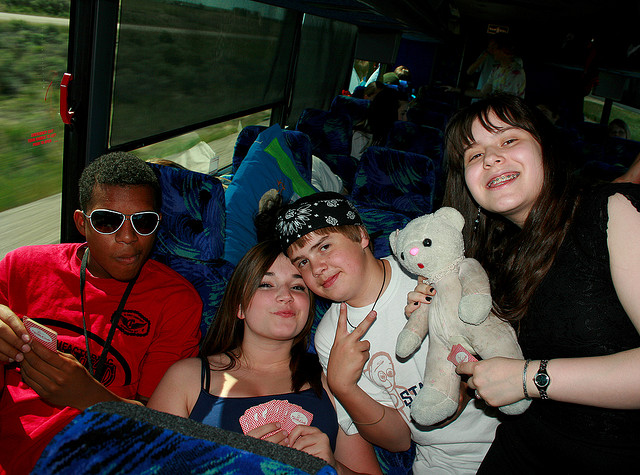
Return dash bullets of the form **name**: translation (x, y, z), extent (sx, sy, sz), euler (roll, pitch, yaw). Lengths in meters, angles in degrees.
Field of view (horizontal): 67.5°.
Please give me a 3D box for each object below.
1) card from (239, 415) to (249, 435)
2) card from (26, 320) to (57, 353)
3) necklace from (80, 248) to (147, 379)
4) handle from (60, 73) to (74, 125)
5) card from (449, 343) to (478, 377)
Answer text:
- **card**: translation (-0.285, 0.709, 1.792), extent (0.034, 0.055, 0.014), euler (-19, -16, -15)
- **card**: translation (-0.960, 0.339, 1.653), extent (0.130, 0.072, 0.030), euler (36, 14, 0)
- **necklace**: translation (-0.868, 0.330, 2.007), extent (0.198, 0.556, 0.027), euler (9, -10, -1)
- **handle**: translation (-1.212, -0.662, 2.283), extent (0.056, 0.231, 0.063), euler (0, 24, -25)
- **card**: translation (0.454, 0.381, 1.511), extent (0.085, 0.077, 0.043), euler (25, 26, 37)
